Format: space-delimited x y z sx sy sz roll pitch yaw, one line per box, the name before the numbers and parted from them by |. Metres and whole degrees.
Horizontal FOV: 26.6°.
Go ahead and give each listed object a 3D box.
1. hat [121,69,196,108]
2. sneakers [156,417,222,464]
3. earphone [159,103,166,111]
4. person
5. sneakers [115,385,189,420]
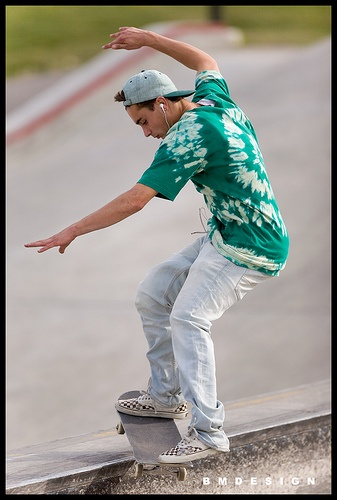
hat | -0.054 -0.900 4.016 0.387 0.142 0.205 -11 8 3
sneakers | 0.193 1.084 4.001 0.509 0.159 0.149 -4 -4 -14
earphone | -0.036 -0.796 3.979 0.028 0.034 0.013 4 21 28
person | 0.037 -0.005 4.110 1.227 2.646 0.836 -15 8 -24
sneakers | -0.127 0.970 4.480 0.492 0.146 0.160 7 18 -4
